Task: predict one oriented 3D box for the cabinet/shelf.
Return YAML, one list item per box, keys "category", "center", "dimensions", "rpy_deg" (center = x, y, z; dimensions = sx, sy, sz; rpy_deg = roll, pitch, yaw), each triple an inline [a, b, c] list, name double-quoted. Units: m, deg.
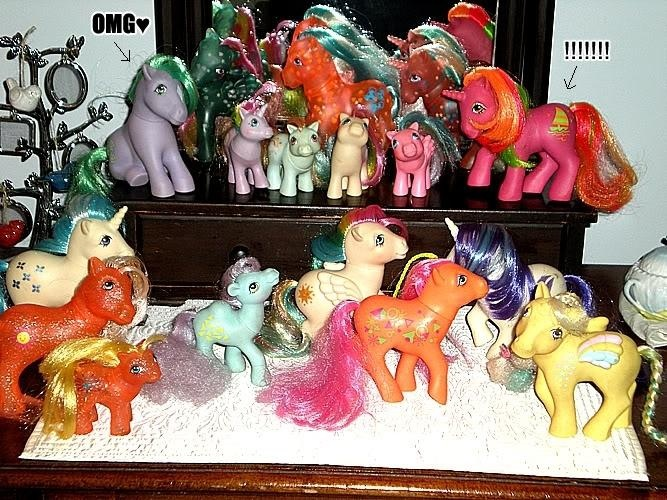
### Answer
- category: "cabinet/shelf"
  center: [-0.061, 0.191, 1.459]
  dimensions: [1.247, 0.634, 0.698]
  rpy_deg: [4, 43, 0]
